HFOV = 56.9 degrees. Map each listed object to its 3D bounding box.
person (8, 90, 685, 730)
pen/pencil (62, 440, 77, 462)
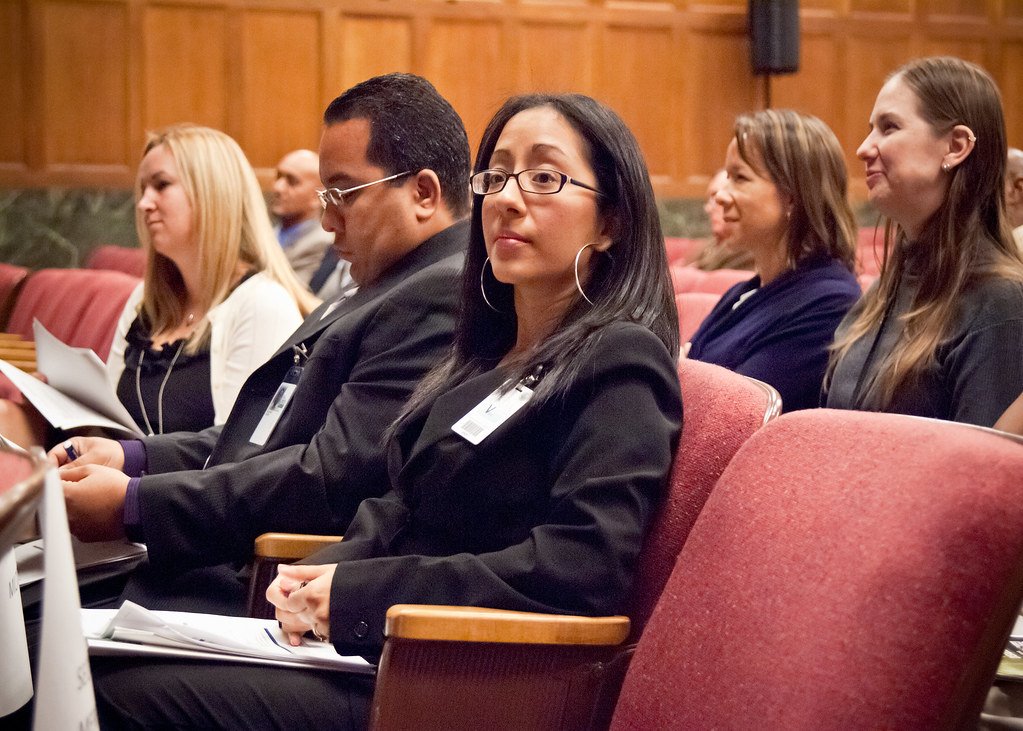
[{"bbox_3d":[-0.220,0.120,2.074,1.119,1.464,0.853,5,-5,-12],"label":"person"},{"bbox_3d":[-0.997,0.193,2.132,0.022,0.021,0.077,14,28,-36],"label":"pen/pencil"}]
